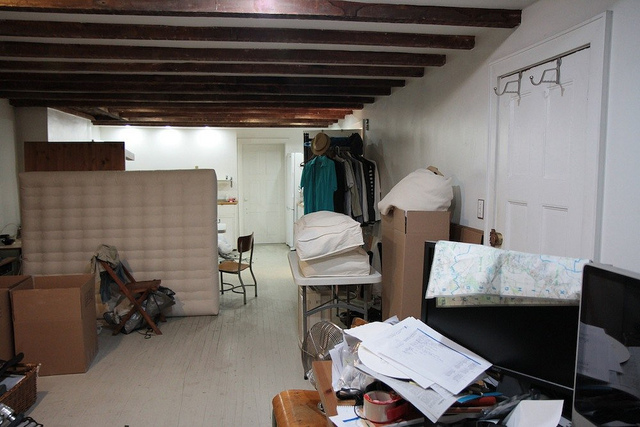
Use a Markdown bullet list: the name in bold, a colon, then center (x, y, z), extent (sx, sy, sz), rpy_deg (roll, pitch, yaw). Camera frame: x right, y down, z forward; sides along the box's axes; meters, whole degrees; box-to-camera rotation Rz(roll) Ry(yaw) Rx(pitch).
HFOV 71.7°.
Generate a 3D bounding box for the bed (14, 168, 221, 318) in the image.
- **bed**: center (-2.385, 0.335, 5.199), extent (1.686, 1.493, 0.188), rpy_deg (-1, 4, -1)

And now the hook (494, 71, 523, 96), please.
- **hook**: center (1.625, -1.116, 3.857), extent (0.034, 0.190, 0.324), rpy_deg (-3, 12, -15)

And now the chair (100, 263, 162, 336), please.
- **chair**: center (-2.154, 0.969, 5.497), extent (0.770, 1.046, 0.701), rpy_deg (-1, 5, -12)

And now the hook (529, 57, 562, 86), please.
- **hook**: center (1.764, -1.092, 3.438), extent (0.033, 0.186, 0.212), rpy_deg (-3, 12, -18)

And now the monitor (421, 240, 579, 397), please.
- **monitor**: center (0.881, 0.546, 2.180), extent (0.082, 0.744, 0.854), rpy_deg (-2, 3, -27)

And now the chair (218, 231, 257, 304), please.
- **chair**: center (-1.338, 0.637, 7.143), extent (0.541, 1.089, 2.563), rpy_deg (-2, 11, -11)
